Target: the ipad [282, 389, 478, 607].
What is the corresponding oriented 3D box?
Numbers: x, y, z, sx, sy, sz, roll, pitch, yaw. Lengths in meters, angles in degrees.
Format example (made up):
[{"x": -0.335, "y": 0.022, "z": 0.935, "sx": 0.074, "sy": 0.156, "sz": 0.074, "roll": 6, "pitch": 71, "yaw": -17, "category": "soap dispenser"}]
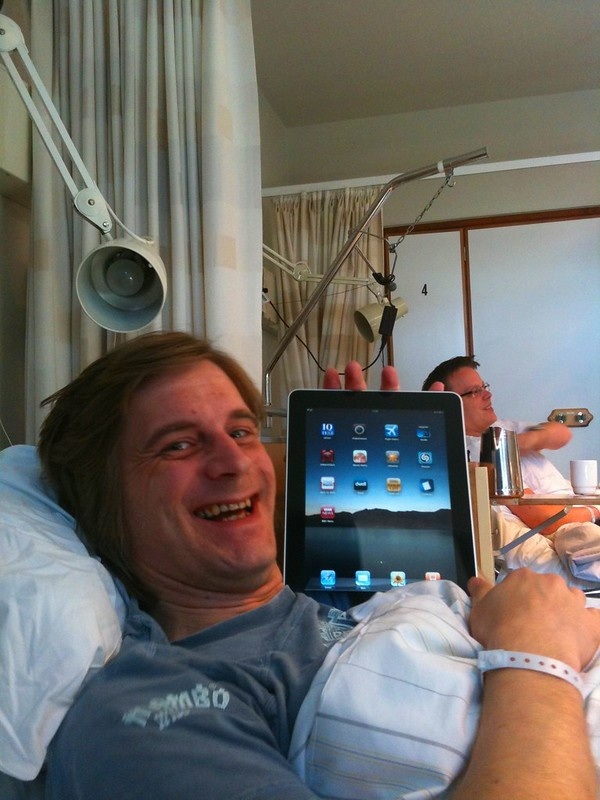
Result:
[{"x": 0.136, "y": 0.179, "z": 1.182, "sx": 0.409, "sy": 0.434, "sz": 0.032, "roll": 0, "pitch": -22, "yaw": 0, "category": "ipad"}]
